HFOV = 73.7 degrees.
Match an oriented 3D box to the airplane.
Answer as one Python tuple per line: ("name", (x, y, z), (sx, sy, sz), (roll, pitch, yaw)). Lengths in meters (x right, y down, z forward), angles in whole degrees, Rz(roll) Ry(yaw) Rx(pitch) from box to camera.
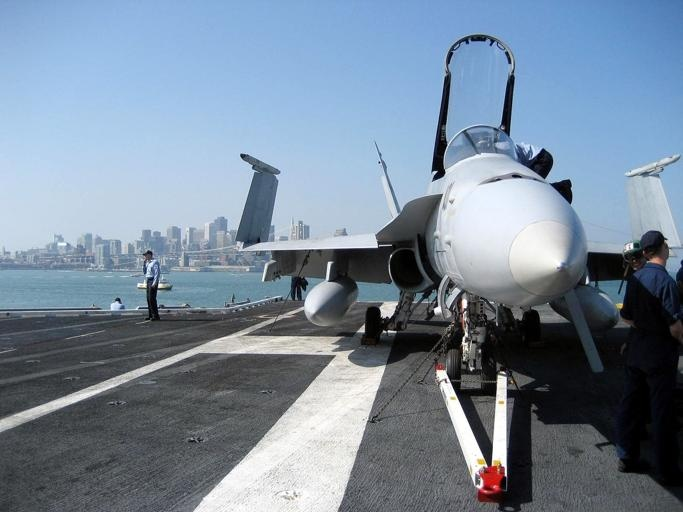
("airplane", (1.604, -0.766, 8.696), (6.151, 3.736, 8.738), (-2, 5, -2))

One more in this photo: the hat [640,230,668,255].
("hat", (3.175, -0.208, 4.647), (0.185, 0.134, 0.253), (3, 42, 42))

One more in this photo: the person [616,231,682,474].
("person", (3.047, 0.984, 4.527), (0.542, 2.203, 0.305), (-1, 0, 29))

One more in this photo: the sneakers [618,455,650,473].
("sneakers", (2.944, 1.882, 4.648), (0.371, 0.124, 0.157), (5, -26, -23))
